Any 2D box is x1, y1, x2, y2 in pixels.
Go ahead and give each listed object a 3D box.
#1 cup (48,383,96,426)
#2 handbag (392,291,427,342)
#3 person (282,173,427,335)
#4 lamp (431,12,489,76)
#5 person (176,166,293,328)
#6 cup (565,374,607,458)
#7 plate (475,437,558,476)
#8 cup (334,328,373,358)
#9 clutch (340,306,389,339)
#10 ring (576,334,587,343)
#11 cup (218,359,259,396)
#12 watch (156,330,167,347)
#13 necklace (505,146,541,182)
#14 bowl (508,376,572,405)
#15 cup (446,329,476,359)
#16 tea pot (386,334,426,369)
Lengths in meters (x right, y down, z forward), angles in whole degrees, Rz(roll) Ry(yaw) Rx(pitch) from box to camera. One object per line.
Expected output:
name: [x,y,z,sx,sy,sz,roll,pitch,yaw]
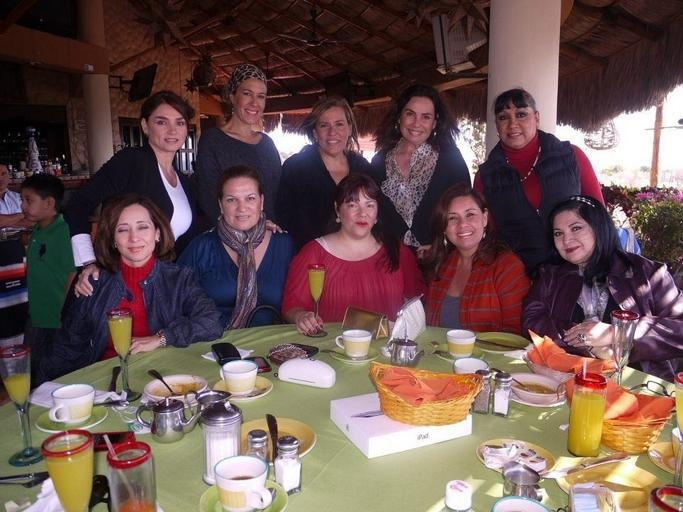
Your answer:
cup: [-0.902,0.498,1.616,0.107,0.083,0.133,7,17,10]
handbag: [0.329,0.304,2.354,0.085,0.130,0.183,13,22,32]
person: [0.017,0.039,3.124,1.192,1.164,0.770,-3,11,-16]
lamp: [1.171,-2.168,4.785,0.491,0.520,0.795,-2,6,0]
person: [-0.672,-0.037,2.862,0.924,0.845,0.385,-7,16,-26]
cup: [0.735,0.479,1.431,0.095,0.241,0.066,2,7,31]
plate: [0.517,0.590,1.419,0.219,0.040,0.154,0,7,18]
cup: [0.058,0.380,2.084,0.104,0.085,0.129,-1,1,-2]
clutch: [0.088,0.327,2.341,0.238,0.129,0.119,18,-5,-36]
ring: [1.078,0.370,2.139,0.025,0.036,0.013,-18,-36,37]
cup: [-0.377,0.440,1.742,0.103,0.090,0.128,-1,-1,-7]
watch: [-0.841,0.384,2.214,0.047,0.062,0.022,7,-3,-6]
necklace: [1.225,-0.616,3.234,0.180,0.256,0.094,-1,-15,16]
bowl: [0.731,0.496,1.765,0.122,0.034,0.127,4,12,-1]
cup: [0.523,0.377,2.062,0.111,0.095,0.106,-2,3,0]
tea pot: [0.259,0.387,1.937,0.138,0.101,0.092,5,7,36]
